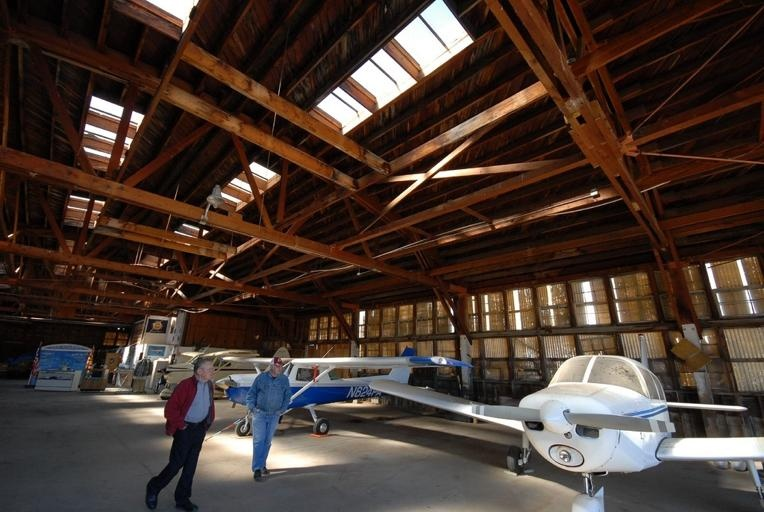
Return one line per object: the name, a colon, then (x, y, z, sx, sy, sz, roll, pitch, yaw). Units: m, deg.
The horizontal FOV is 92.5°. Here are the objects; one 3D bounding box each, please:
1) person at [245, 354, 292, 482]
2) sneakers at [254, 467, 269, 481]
person: (-2.093, 2.985, 6.646, 0.539, 2.066, 0.480, -5, -22, 20)
sneakers: (-2.140, 3.960, 6.634, 0.211, 0.176, 0.333, -1, -16, 10)
